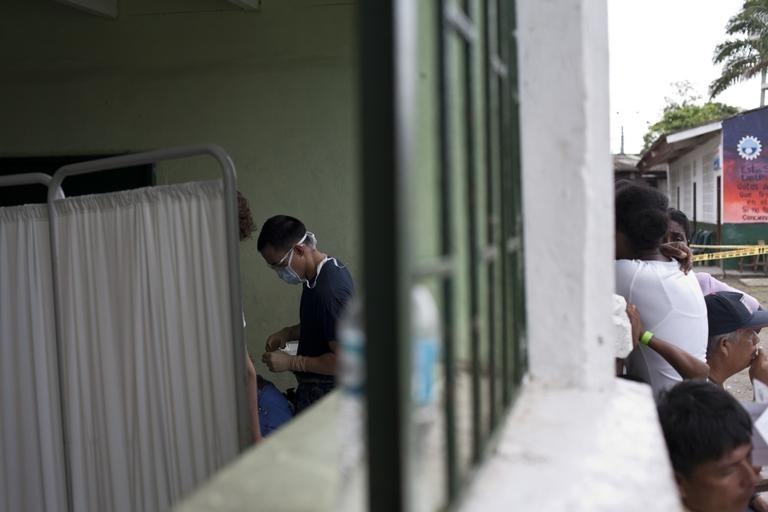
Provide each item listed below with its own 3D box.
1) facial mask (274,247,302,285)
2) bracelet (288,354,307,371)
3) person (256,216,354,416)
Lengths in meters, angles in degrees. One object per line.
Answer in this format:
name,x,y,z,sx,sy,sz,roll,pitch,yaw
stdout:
facial mask,-0.587,0.073,4.976,0.177,0.147,0.181,-19,18,-1
bracelet,-0.525,0.645,4.836,0.138,0.126,0.081,3,-3,-24
person,-0.446,0.337,4.856,0.381,0.976,0.645,-9,4,-44
